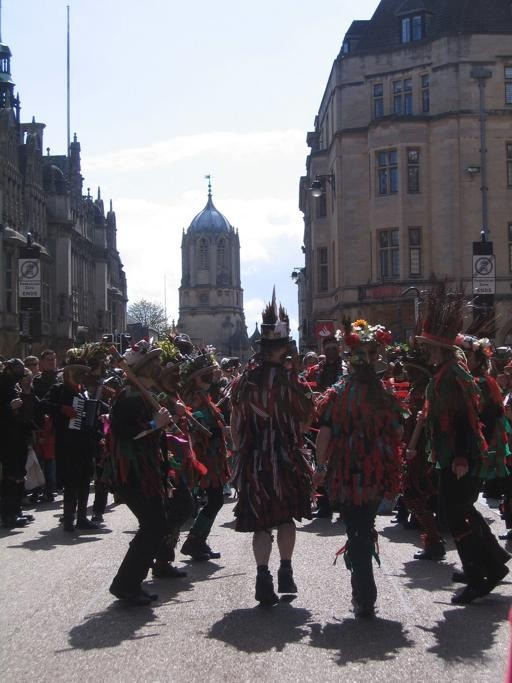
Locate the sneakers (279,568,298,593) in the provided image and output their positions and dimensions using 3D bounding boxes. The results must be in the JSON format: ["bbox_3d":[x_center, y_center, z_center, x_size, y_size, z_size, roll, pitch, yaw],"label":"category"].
[{"bbox_3d":[0.220,1.670,6.416,0.130,0.158,0.113,-2,1,0],"label":"sneakers"}]

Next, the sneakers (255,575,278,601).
[{"bbox_3d":[0.062,1.661,6.161,0.160,0.170,0.128,-2,1,10],"label":"sneakers"}]
